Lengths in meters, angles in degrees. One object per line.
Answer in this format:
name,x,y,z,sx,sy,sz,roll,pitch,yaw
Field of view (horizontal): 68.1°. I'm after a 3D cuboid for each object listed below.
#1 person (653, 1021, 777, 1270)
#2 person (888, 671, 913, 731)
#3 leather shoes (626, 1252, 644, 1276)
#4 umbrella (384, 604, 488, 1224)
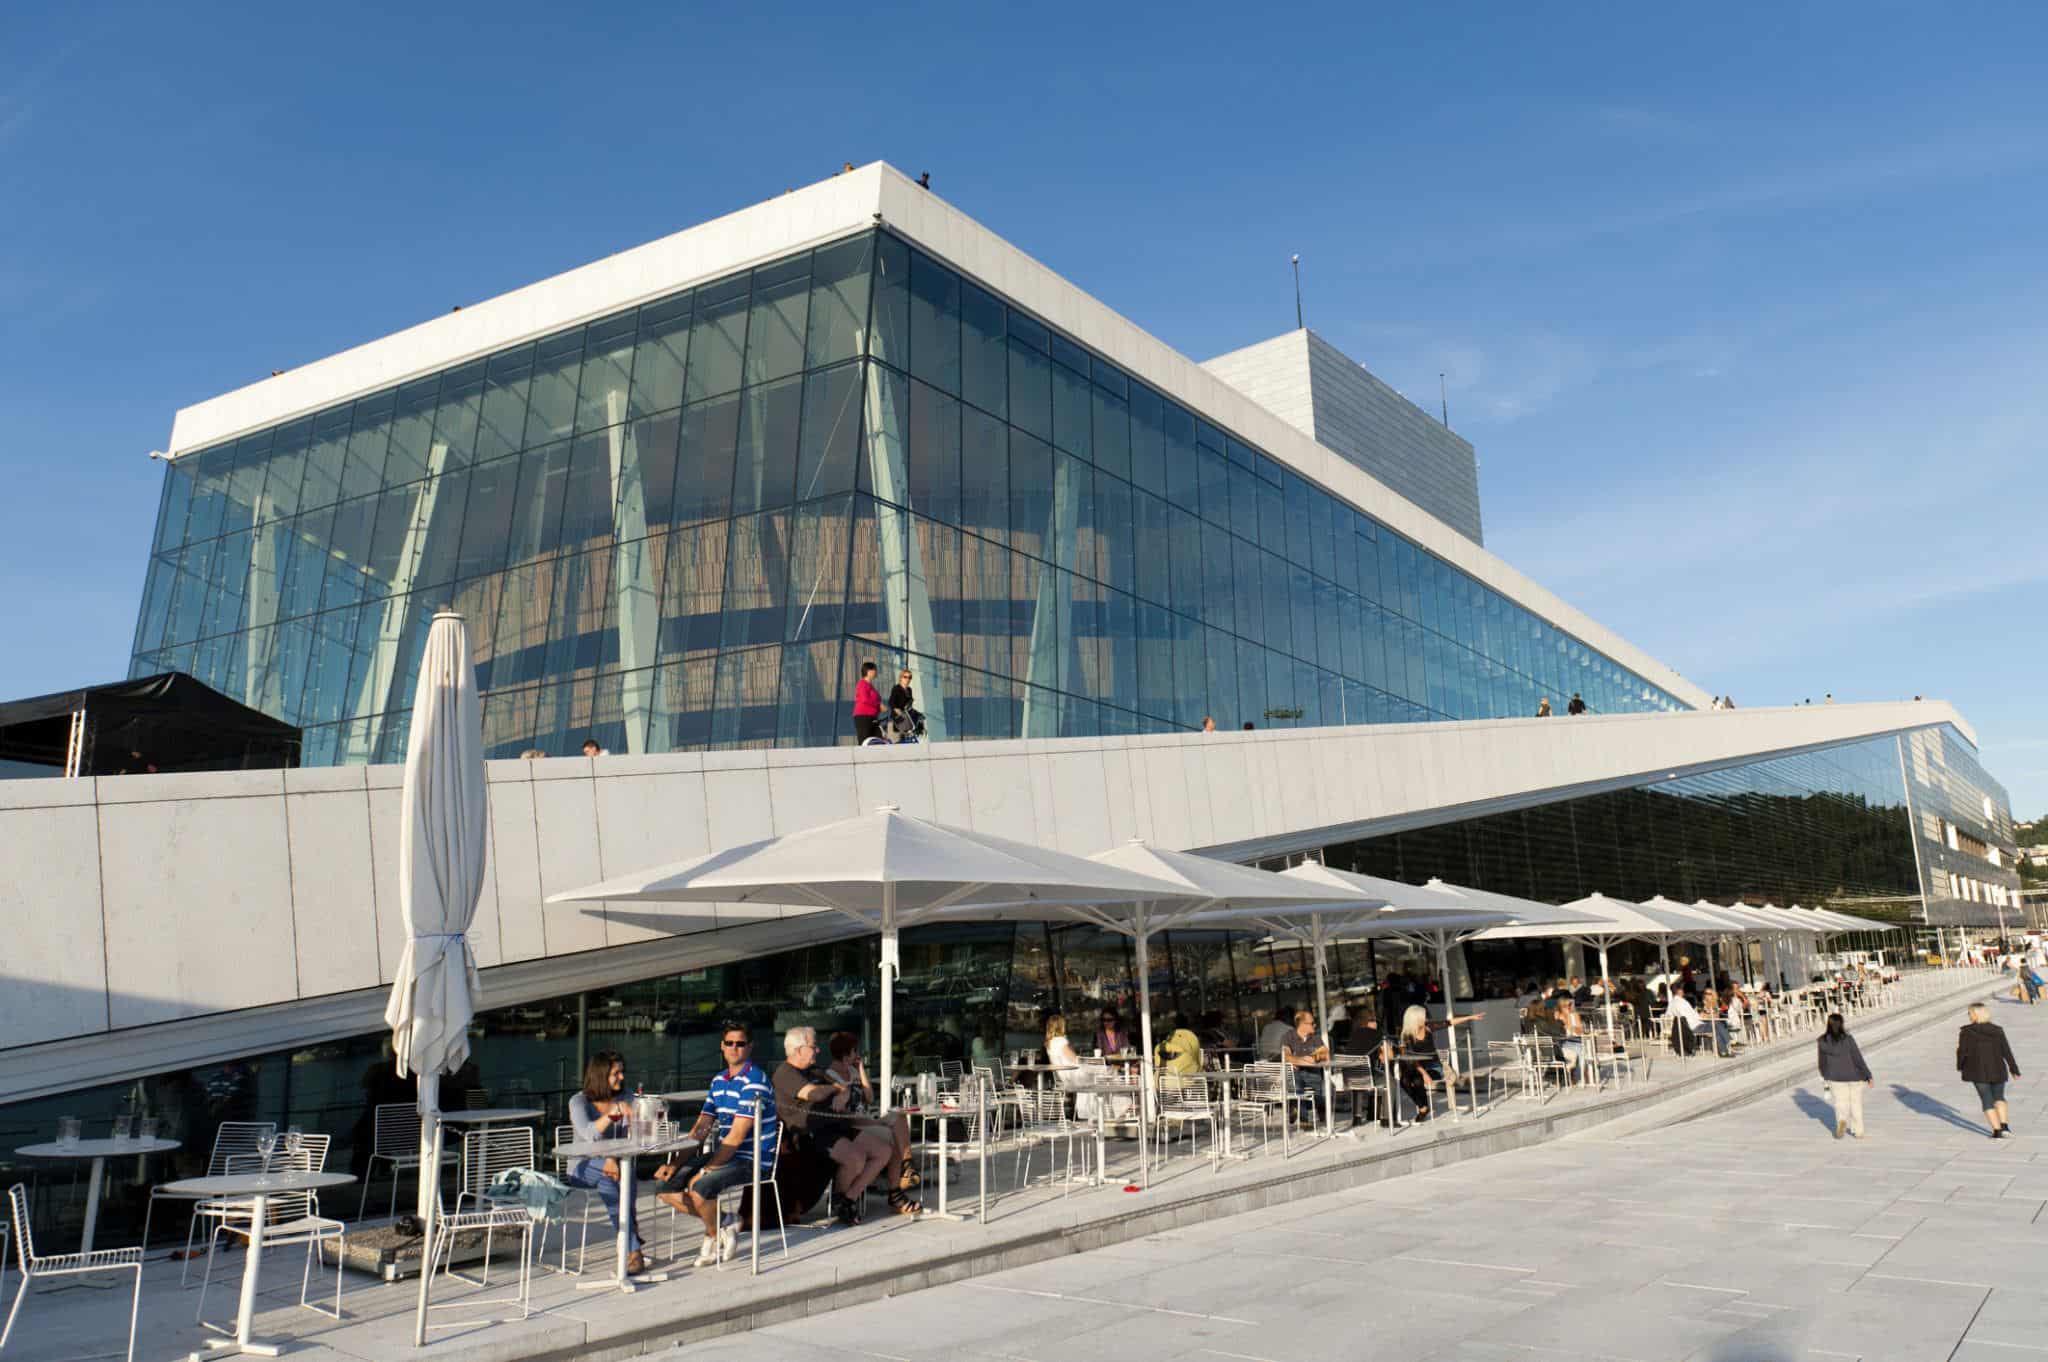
person,-3.207,4.850,15.916,1.126,2.325,0.735,-5,-17,-1
person,-2.132,0.300,25.668,0.418,1.226,1.102,-4,-17,-6
leather shoes,-3.910,5.820,15.174,0.167,0.178,0.177,1,1,25
umbrella,-5.763,2.165,14.724,0.831,5.774,1.201,2,-18,-23
